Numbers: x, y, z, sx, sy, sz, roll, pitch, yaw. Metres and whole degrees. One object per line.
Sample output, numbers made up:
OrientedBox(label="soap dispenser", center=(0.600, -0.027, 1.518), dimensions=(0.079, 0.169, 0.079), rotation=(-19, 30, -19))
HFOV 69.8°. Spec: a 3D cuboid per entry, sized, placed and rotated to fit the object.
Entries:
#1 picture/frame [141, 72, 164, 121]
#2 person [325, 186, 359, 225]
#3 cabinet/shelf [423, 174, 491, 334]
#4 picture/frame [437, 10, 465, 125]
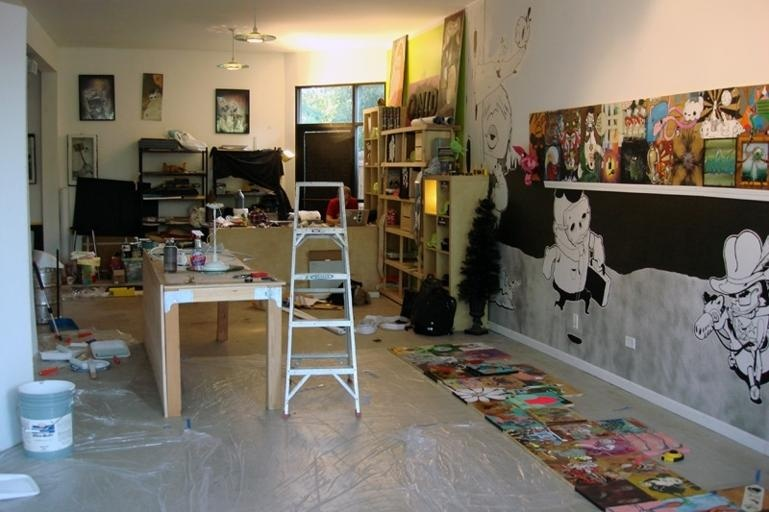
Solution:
OrientedBox(label="picture/frame", center=(-5.141, -3.483, 12.177), dimensions=(0.483, 0.993, 0.178), rotation=(0, 12, -2))
OrientedBox(label="person", center=(-0.762, -0.729, 9.991), dimensions=(0.545, 1.163, 0.391), rotation=(6, 26, -4))
OrientedBox(label="cabinet/shelf", center=(1.035, -0.108, 8.171), dimensions=(0.597, 2.173, 1.133), rotation=(-4, 13, -21))
OrientedBox(label="picture/frame", center=(1.061, -3.023, 8.849), dimensions=(0.250, 1.597, 0.659), rotation=(-3, 13, -16))
